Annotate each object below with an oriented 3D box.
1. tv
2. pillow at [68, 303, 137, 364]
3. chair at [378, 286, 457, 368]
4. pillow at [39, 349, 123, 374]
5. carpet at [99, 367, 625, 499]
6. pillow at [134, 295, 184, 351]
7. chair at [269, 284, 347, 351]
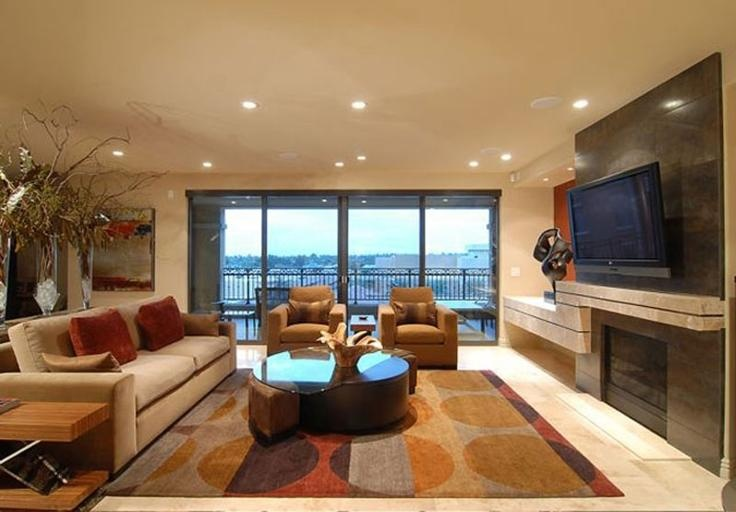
[{"bbox_3d":[2.360,-0.289,4.684,0.118,0.973,1.139,-5,0,-18],"label":"tv"},{"bbox_3d":[-2.453,0.778,4.499,0.347,0.551,0.777,-5,2,-1],"label":"pillow"},{"bbox_3d":[0.614,0.916,6.418,1.258,0.916,1.299,0,1,-22],"label":"chair"},{"bbox_3d":[-2.329,0.877,3.942,0.451,0.178,0.191,2,-20,3],"label":"pillow"},{"bbox_3d":[0.068,1.702,5.308,3.724,0.021,4.148,1,-1,-2],"label":"carpet"},{"bbox_3d":[-2.236,0.729,5.268,0.265,0.496,0.758,1,1,1],"label":"pillow"},{"bbox_3d":[-0.822,0.903,6.583,1.051,0.924,1.123,0,0,-6],"label":"chair"}]
